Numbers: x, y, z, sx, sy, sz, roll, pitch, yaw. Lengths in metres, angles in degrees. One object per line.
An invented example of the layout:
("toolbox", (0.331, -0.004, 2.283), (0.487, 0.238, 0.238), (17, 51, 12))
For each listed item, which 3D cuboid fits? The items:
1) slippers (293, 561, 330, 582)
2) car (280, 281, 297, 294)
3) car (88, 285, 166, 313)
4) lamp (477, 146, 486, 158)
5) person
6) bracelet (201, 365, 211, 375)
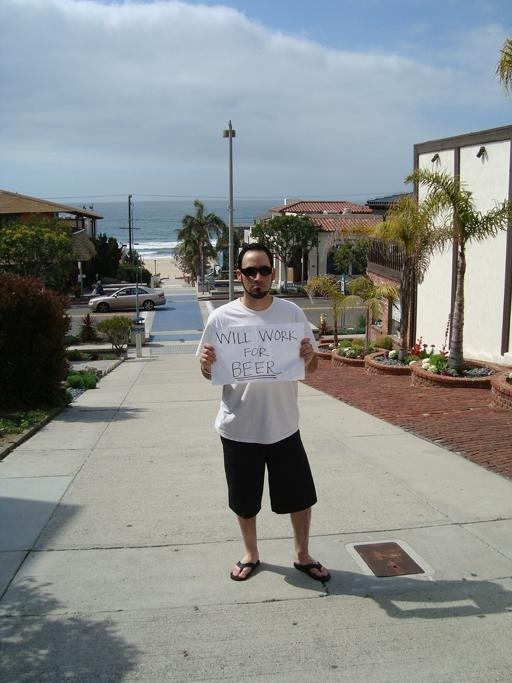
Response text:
("slippers", (0.308, 1.219, 3.195), (0.074, 0.048, 0.167), (-4, -1, -38))
("car", (2.851, -4.933, 54.589), (1.843, 0.998, 1.794), (2, 13, 2))
("car", (-8.972, -3.028, 42.872), (2.484, 1.817, 5.353), (0, 4, 33))
("lamp", (5.145, -4.345, 13.806), (0.146, 0.324, 0.108), (17, -4, -28))
("person", (0.027, 0.367, 3.258), (0.660, 1.808, 0.392), (-2, 4, -5))
("bracelet", (-0.273, 0.155, 3.288), (0.045, 0.053, 0.057), (2, -11, -8))
